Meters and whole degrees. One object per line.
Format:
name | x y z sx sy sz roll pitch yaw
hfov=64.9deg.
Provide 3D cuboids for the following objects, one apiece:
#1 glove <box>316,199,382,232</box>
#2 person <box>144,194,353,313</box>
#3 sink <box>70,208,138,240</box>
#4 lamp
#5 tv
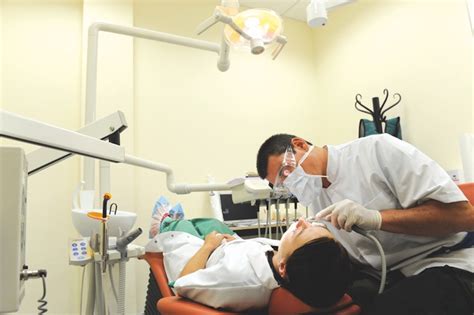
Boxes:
glove | 0.714 0.370 2.359 0.340 0.146 0.204 -9 4 7
person | -0.001 0.661 2.429 1.181 0.652 0.417 7 28 37
sink | -0.959 0.474 2.733 0.329 0.232 0.384 -16 -18 34
lamp | 0.176 -0.859 2.643 0.372 0.240 0.356 15 -3 11
tv | -0.050 0.605 4.424 0.603 0.387 0.404 2 7 -19
